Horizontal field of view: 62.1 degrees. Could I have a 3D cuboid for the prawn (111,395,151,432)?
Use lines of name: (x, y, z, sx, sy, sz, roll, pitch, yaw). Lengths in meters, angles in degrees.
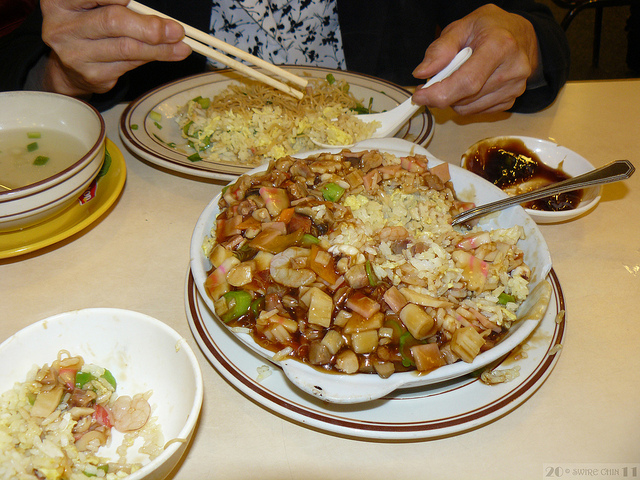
prawn: (-0.643, 0.589, 1.804, 0.129, 0.016, 0.112, 7, 53, -1)
